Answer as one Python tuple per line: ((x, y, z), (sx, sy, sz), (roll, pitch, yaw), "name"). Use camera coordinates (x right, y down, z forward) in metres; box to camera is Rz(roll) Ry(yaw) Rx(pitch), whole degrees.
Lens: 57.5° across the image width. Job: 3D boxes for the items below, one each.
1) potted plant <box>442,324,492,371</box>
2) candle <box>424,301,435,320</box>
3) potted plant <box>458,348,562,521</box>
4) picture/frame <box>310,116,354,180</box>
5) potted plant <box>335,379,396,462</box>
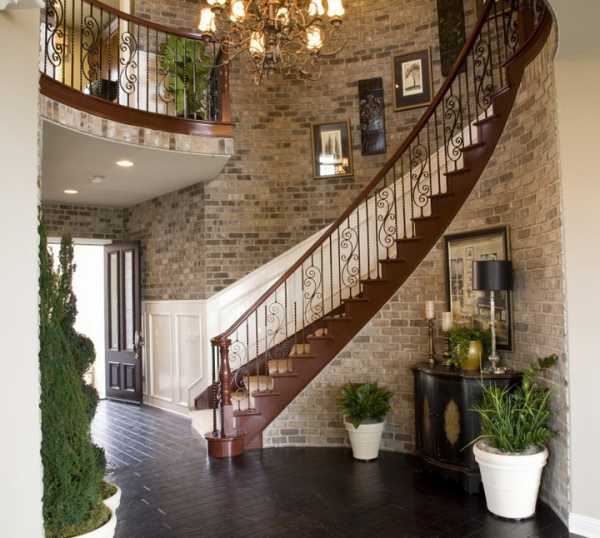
((1.529, 0.694, 4.955), (0.307, 0.396, 0.374), (0, -2, 3), "potted plant")
((1.307, 0.410, 5.476), (0.092, 0.161, 0.237), (-2, -1, 13), "candle")
((1.651, 1.258, 4.245), (0.605, 1.169, 0.633), (-2, -1, 9), "potted plant")
((0.480, -1.693, 7.782), (0.737, 1.197, 0.074), (-1, -2, 14), "picture/frame")
((0.637, 1.556, 5.743), (0.608, 0.801, 0.659), (0, -8, 0), "potted plant")
